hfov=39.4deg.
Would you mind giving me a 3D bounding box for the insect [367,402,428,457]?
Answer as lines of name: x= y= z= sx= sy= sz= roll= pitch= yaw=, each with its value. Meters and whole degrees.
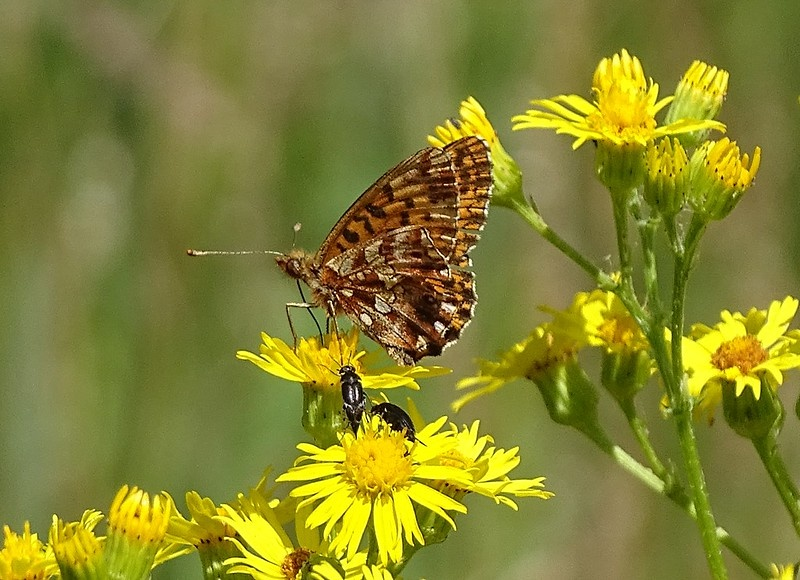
insect: x=-0.021 y=0.430 z=3.484 sx=0.044 sy=0.099 sz=0.140 roll=-45 pitch=76 yaw=11
